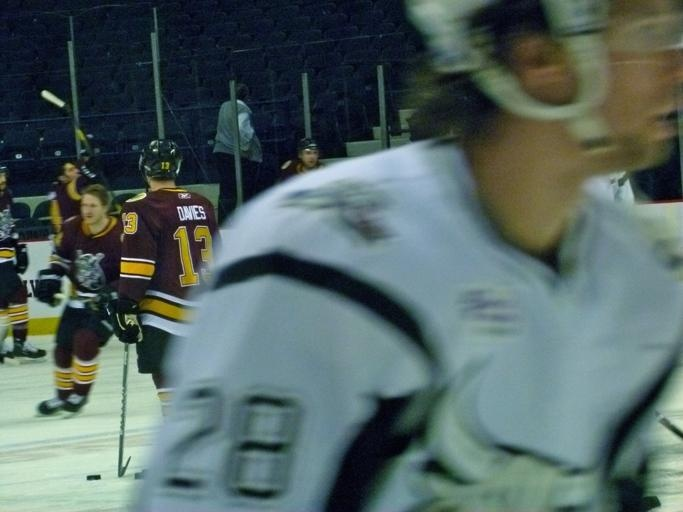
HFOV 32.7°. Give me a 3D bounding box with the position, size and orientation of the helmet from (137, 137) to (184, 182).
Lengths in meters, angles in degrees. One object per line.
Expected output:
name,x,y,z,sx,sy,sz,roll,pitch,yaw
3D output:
helmet,-0.928,-0.489,5.944,0.216,0.234,0.255,4,-5,-13

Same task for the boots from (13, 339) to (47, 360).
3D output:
boots,-2.775,0.812,10.101,0.391,0.158,0.122,3,20,-24

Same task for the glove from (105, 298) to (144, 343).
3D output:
glove,-1.072,0.303,5.776,0.191,0.226,0.110,-2,5,-5

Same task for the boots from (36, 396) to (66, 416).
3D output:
boots,-1.813,0.943,7.322,0.115,0.072,0.208,1,-1,3

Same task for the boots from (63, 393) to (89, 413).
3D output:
boots,-1.645,0.906,7.220,0.095,0.098,0.156,-3,-9,3

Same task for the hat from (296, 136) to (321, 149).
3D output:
hat,-0.296,-1.007,10.262,0.158,0.083,0.107,1,0,1
